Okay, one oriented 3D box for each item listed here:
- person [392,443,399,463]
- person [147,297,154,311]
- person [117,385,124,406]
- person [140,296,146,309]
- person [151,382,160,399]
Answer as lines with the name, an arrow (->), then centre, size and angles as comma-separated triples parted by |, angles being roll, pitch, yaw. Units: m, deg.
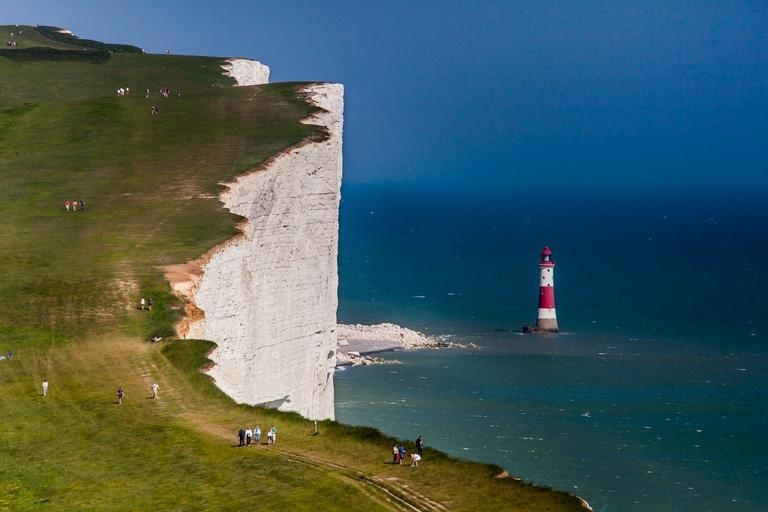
person -> 0.763, 11.562, 59.155 | 0.467, 0.913, 0.631 | 6, 8, -3
person -> -15.548, 3.268, 67.997 | 0.444, 0.743, 0.840 | 4, 7, -14
person -> -15.691, 8.297, 60.811 | 0.427, 1.009, 0.909 | 5, 7, -13
person -> -16.038, 3.189, 68.012 | 0.340, 0.723, 0.829 | 4, 7, -16
person -> -13.737, 8.137, 61.481 | 0.510, 0.781, 1.032 | 4, 7, -13
